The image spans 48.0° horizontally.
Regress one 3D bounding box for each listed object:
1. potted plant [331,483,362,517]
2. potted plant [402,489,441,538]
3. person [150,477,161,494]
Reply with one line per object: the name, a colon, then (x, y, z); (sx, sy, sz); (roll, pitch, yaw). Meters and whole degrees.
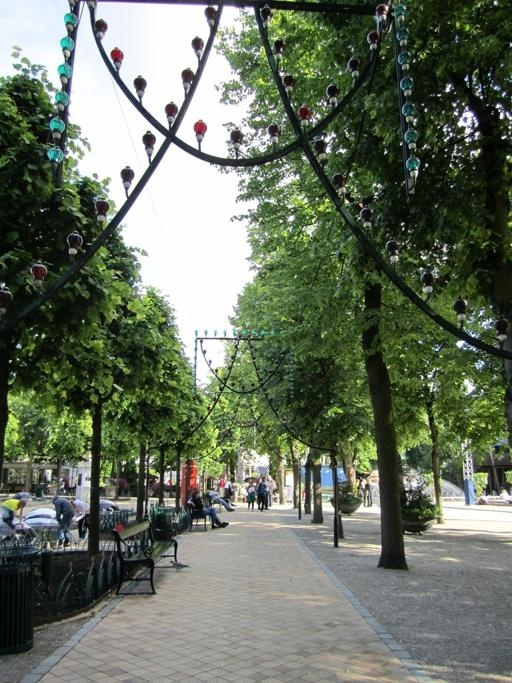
potted plant: (4.652, 7.839, 28.635); (0.964, 1.546, 3.199); (-5, -15, 8)
potted plant: (5.477, 5.821, 19.456); (1.316, 1.532, 1.487); (1, -18, 6)
person: (-10.175, 14.614, 57.632); (0.740, 1.591, 1.365); (1, -14, -17)
